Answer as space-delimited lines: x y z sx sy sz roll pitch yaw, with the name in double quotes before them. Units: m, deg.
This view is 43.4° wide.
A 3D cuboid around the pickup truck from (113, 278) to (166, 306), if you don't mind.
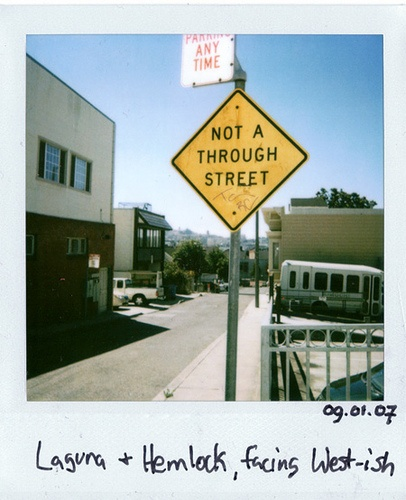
"pickup truck" -2.960 1.941 23.062 1.642 1.168 1.102 4 -2 -2
